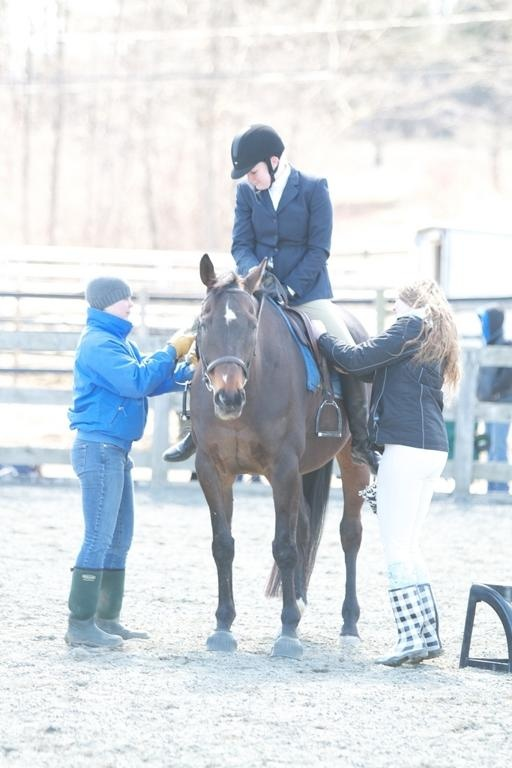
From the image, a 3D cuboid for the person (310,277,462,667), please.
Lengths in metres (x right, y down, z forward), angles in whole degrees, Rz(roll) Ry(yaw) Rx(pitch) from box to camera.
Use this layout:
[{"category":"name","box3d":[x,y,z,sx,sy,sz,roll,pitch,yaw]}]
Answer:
[{"category":"person","box3d":[0.826,0.502,10.223,0.667,2.249,0.465,3,2,12]}]

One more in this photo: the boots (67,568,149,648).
[{"category":"boots","box3d":[-0.847,1.315,10.273,0.412,0.538,0.538,-2,-4,22]}]

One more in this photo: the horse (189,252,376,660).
[{"category":"horse","box3d":[0.120,0.536,10.937,0.819,2.369,3.001,1,-3,17]}]

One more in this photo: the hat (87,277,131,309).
[{"category":"hat","box3d":[-0.869,-0.552,10.326,0.223,0.185,0.171,-17,3,2]}]

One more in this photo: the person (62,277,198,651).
[{"category":"person","box3d":[-0.783,0.445,10.320,0.697,2.161,0.480,2,2,-26]}]

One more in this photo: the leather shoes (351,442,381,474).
[{"category":"leather shoes","box3d":[0.721,0.469,11.024,0.190,0.196,0.072,-11,34,53]}]

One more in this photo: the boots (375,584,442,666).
[{"category":"boots","box3d":[0.923,1.398,10.222,0.414,0.540,0.418,-9,-6,33]}]
